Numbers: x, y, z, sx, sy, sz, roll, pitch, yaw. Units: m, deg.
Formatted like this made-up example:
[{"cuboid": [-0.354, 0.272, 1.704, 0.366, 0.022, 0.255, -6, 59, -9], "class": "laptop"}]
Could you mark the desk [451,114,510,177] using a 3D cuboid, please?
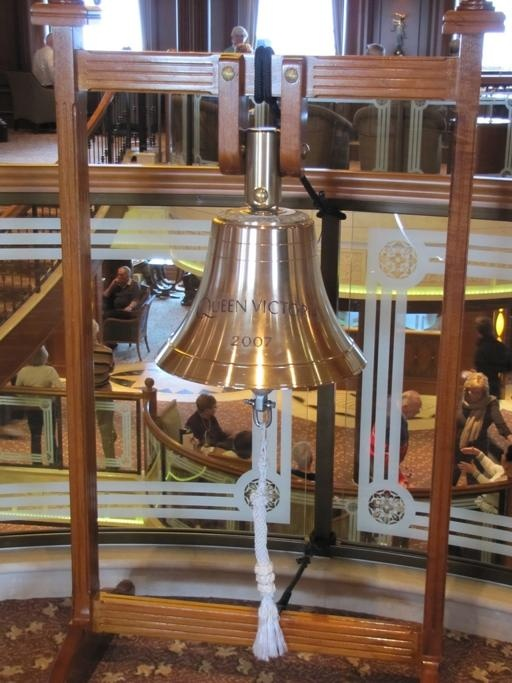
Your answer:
[{"cuboid": [1.995, -1.649, 5.895, 0.233, 0.404, 0.628, 4, 12, 16], "class": "desk"}]

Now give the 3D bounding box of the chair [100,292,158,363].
[{"cuboid": [-0.333, -0.036, 1.786, 0.112, 0.128, 0.108, 2, 11, -1], "class": "chair"}]
